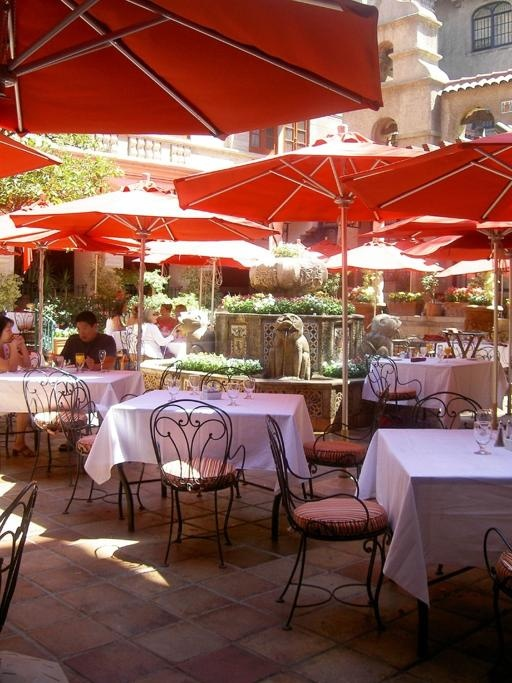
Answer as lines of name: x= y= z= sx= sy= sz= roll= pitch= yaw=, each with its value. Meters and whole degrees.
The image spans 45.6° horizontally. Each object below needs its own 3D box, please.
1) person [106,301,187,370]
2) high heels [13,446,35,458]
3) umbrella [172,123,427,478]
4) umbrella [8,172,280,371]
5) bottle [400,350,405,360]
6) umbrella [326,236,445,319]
person: x=-2.235 y=-0.060 z=12.672 sx=1.622 sy=1.297 sz=1.159 roll=1 pitch=6 yaw=7
high heels: x=-2.609 y=1.235 z=6.787 sx=0.240 sy=0.079 sz=0.106 roll=-6 pitch=-5 yaw=40
umbrella: x=0.407 y=-0.523 z=6.000 sx=3.088 sy=2.494 sz=2.888 roll=-4 pitch=5 yaw=-6
umbrella: x=-1.407 y=-0.626 z=6.972 sx=2.528 sy=1.621 sz=2.678 roll=-3 pitch=-5 yaw=32
bottle: x=2.270 y=0.203 z=9.351 sx=0.077 sy=0.118 sz=0.077 roll=-1 pitch=0 yaw=0
umbrella: x=2.735 y=-1.516 z=12.477 sx=2.353 sy=1.494 sz=2.055 roll=1 pitch=4 yaw=5
